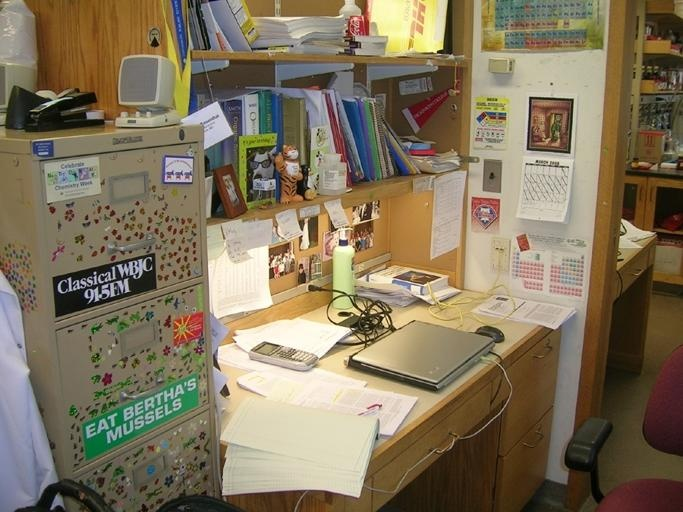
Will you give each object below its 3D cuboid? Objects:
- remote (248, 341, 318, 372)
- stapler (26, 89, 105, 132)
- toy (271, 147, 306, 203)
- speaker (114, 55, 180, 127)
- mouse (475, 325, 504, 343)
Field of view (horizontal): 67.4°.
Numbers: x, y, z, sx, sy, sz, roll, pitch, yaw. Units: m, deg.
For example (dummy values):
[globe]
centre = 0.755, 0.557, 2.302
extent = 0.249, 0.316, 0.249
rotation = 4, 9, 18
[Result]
[remote]
centre = -0.221, 0.399, 1.991
extent = 0.261, 0.053, 0.111
rotation = 6, 19, 22
[stapler]
centre = -0.674, -0.360, 1.260
extent = 0.053, 0.084, 0.200
rotation = 10, 21, 21
[toy]
centre = -0.191, -0.287, 1.808
extent = 0.068, 0.239, 0.149
rotation = 10, 20, 34
[speaker]
centre = -0.482, -0.419, 1.340
extent = 0.171, 0.203, 0.177
rotation = 9, 15, -13
[mouse]
centre = 0.637, 0.332, 2.186
extent = 0.099, 0.034, 0.059
rotation = 13, 23, 37
